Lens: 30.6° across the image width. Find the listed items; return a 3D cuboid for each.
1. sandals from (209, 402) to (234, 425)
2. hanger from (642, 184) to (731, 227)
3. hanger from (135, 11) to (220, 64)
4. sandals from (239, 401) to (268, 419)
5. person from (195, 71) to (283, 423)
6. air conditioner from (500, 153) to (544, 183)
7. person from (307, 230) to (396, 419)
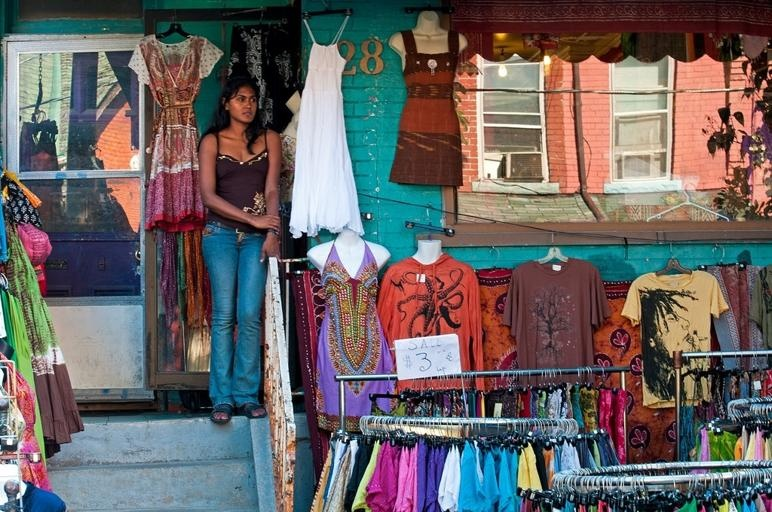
[{"bbox_3d":[-1.213,1.143,10.293,0.132,0.114,0.268,0,-10,-5],"label":"sandals"},{"bbox_3d":[2.436,-0.387,11.219,0.864,0.402,0.322,0,-8,13],"label":"hanger"},{"bbox_3d":[-1.657,-1.700,11.020,0.542,0.273,0.051,-1,-1,-4],"label":"hanger"},{"bbox_3d":[-0.990,1.117,10.301,0.248,0.113,0.090,-5,-5,37],"label":"sandals"},{"bbox_3d":[-1.086,-0.091,10.539,0.710,2.521,0.580,-2,-4,13],"label":"person"},{"bbox_3d":[1.071,-0.695,11.122,0.421,0.256,0.212,1,3,-1],"label":"air conditioner"},{"bbox_3d":[-0.290,0.584,10.623,0.712,1.438,0.322,0,2,-14],"label":"person"}]
